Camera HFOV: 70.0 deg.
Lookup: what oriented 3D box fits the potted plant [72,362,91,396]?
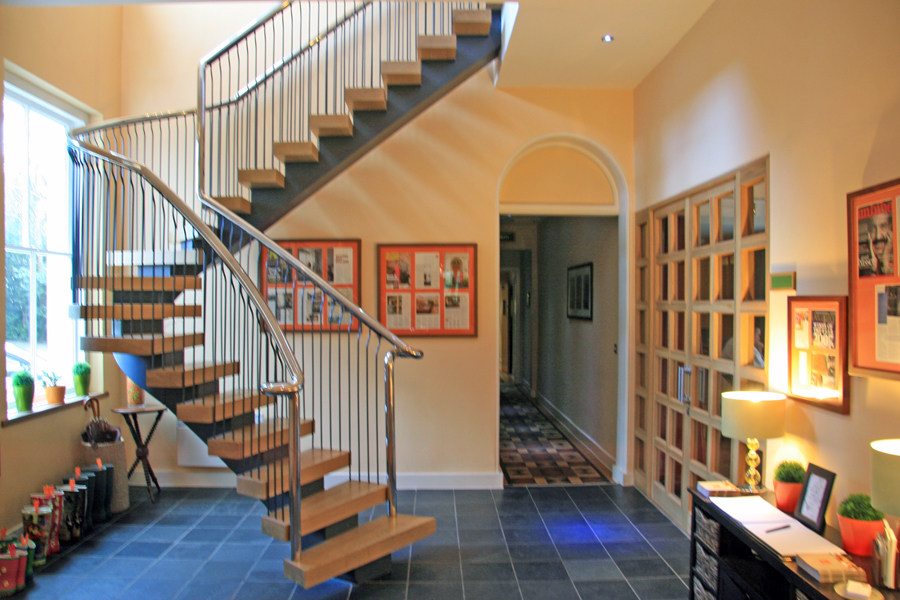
[{"bbox_3d":[-3.864,0.831,6.799,0.162,0.348,0.204,-8,14,-31],"label":"potted plant"}]

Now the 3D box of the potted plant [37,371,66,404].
[{"bbox_3d":[-3.994,0.875,6.505,0.203,0.306,0.365,-8,14,-34],"label":"potted plant"}]

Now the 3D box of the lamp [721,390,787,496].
[{"bbox_3d":[2.307,1.080,4.923,0.409,0.807,0.567,7,14,34],"label":"lamp"}]

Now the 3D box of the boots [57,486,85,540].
[{"bbox_3d":[-3.519,1.984,6.037,0.235,0.441,0.262,2,0,10],"label":"boots"}]

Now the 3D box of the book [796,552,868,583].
[{"bbox_3d":[2.348,1.656,3.982,0.184,0.045,0.187,-3,3,-8],"label":"book"}]

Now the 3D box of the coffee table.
[{"bbox_3d":[-3.260,1.565,6.950,0.464,1.075,0.785,-6,13,-25],"label":"coffee table"}]

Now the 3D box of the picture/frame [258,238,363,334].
[{"bbox_3d":[-1.449,-0.171,6.787,1.004,1.003,0.050,0,2,-2],"label":"picture/frame"}]

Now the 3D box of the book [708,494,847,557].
[{"bbox_3d":[2.274,1.561,4.433,0.300,0.060,0.547,-2,8,-12],"label":"book"}]

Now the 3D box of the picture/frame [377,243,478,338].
[{"bbox_3d":[-0.220,-0.131,7.098,0.994,0.974,0.047,0,2,-2],"label":"picture/frame"}]

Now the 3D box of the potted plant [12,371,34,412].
[{"bbox_3d":[-4.035,0.864,6.135,0.170,0.374,0.182,-9,14,-35],"label":"potted plant"}]
